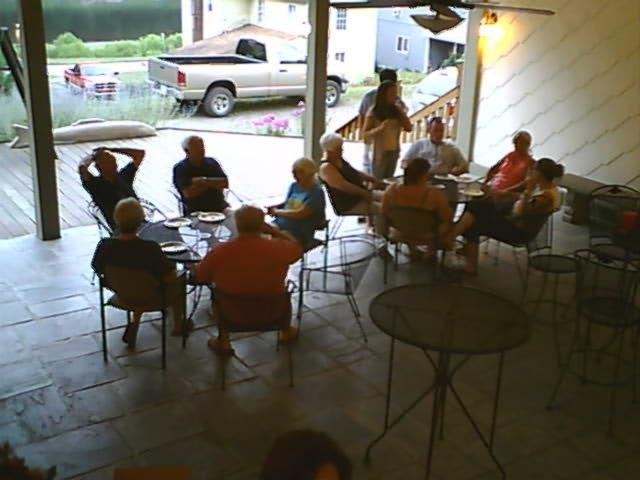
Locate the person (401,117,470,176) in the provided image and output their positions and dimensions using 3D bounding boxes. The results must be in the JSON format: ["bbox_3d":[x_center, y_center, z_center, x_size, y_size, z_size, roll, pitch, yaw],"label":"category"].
[{"bbox_3d":[1.376,-1.088,6.377,0.812,0.649,0.447,1,13,-6],"label":"person"}]

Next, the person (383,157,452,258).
[{"bbox_3d":[0.971,-0.326,5.343,0.703,0.967,0.684,-5,20,-20],"label":"person"}]

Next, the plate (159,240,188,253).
[{"bbox_3d":[-1.169,0.058,4.320,0.133,0.025,0.128,8,19,17],"label":"plate"}]

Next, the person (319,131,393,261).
[{"bbox_3d":[0.528,-0.555,5.950,1.044,1.221,0.538,1,28,18],"label":"person"}]

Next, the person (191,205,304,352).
[{"bbox_3d":[-0.508,0.074,3.736,0.752,0.591,0.305,2,25,-2],"label":"person"}]

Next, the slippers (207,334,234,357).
[{"bbox_3d":[-0.812,0.855,4.386,0.140,0.174,0.263,-10,34,-25],"label":"slippers"}]

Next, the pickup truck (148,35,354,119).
[{"bbox_3d":[-1.508,-3.713,11.698,4.126,1.382,1.837,-14,30,-31],"label":"pickup truck"}]

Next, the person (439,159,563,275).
[{"bbox_3d":[1.840,-0.289,5.492,0.852,1.327,0.493,25,23,13],"label":"person"}]

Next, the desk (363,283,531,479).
[{"bbox_3d":[0.842,0.860,3.599,1.001,0.973,1.154,15,27,23],"label":"desk"}]

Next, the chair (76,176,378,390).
[{"bbox_3d":[-0.886,0.331,4.065,1.581,0.748,1.478,1,30,-7],"label":"chair"}]
